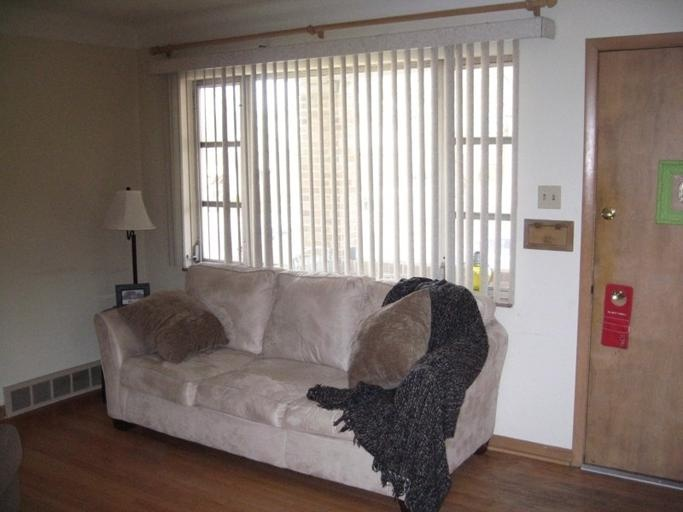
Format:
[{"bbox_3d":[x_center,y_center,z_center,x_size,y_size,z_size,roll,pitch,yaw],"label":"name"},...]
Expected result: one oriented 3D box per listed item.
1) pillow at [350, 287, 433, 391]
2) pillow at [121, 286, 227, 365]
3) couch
[{"bbox_3d":[0.254,0.367,3.409,0.427,0.831,0.241,5,25,4],"label":"pillow"},{"bbox_3d":[-1.220,0.458,4.011,0.561,0.179,0.454,32,33,32],"label":"pillow"},{"bbox_3d":[-0.342,0.717,3.722,2.465,1.088,0.881,7,16,28],"label":"couch"}]
